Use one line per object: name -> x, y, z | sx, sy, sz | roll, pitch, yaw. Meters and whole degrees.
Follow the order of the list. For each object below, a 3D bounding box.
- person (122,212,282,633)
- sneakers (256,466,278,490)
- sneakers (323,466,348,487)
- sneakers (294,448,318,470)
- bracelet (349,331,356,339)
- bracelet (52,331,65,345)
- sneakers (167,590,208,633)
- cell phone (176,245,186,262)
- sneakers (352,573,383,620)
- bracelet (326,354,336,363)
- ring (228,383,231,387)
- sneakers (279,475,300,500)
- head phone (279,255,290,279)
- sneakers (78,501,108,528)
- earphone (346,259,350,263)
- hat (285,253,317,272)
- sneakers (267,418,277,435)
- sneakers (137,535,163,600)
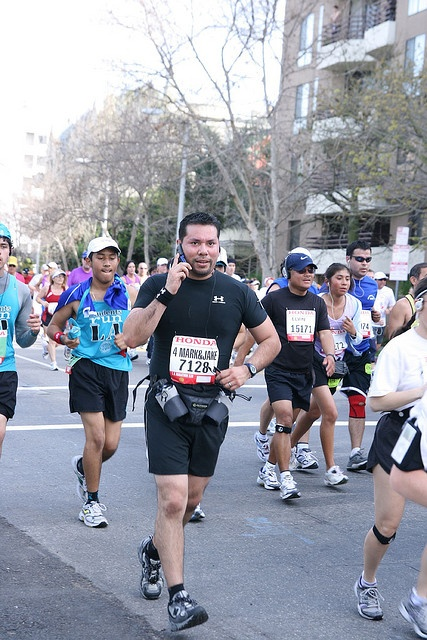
person -> -0.098, 0.473, 2.632 | 0.686, 1.893, 1.049 | 3, 8, 9
sneakers -> 0.514, 1.480, 5.585 | 0.104, 0.123, 0.273 | 3, -1, -28
sneakers -> 1.175, 1.471, 5.646 | 0.119, 0.134, 0.289 | 1, -10, -26
sneakers -> 1.003, 1.508, 6.557 | 0.146, 0.177, 0.410 | 0, -8, -17
bracelet -> 1.509, 0.157, 6.402 | 0.055, 0.030, 0.069 | -1, -20, 3
bracelet -> -1.172, 0.127, 4.483 | 0.095, 0.109, 0.049 | -2, -33, -4
sneakers -> -0.113, 1.068, 2.234 | 0.096, 0.102, 0.196 | -16, -8, -22
cell phone -> -0.155, -0.301, 2.699 | 0.029, 0.074, 0.060 | -4, -1, -23
sneakers -> 0.742, 1.270, 2.814 | 0.091, 0.096, 0.221 | -4, 29, -7
bracelet -> 1.115, 0.343, 5.596 | 0.071, 0.022, 0.069 | 32, -11, 6
ring -> 0.069, 0.276, 2.613 | 0.016, 0.015, 0.006 | 0, 5, -19
sneakers -> 0.645, 1.422, 5.127 | 0.113, 0.128, 0.275 | -1, -8, -11
head phone -> 0.709, -0.524, 5.912 | 0.087, 0.223, 0.176 | 2, 9, 26
sneakers -> -0.862, 1.349, 4.227 | 0.191, 0.184, 0.312 | 0, 7, -14
earphone -> 1.605, -0.699, 7.029 | 0.046, 0.047, 0.057 | -1, 2, 4
hat -> 0.785, -0.527, 5.413 | 0.180, 0.121, 0.235 | -5, 4, -25
sneakers -> 0.721, 1.376, 7.781 | 0.152, 0.167, 0.389 | 2, -9, 2
sneakers -> -0.303, 1.151, 2.835 | 0.114, 0.305, 0.145 | -4, 9, -12
